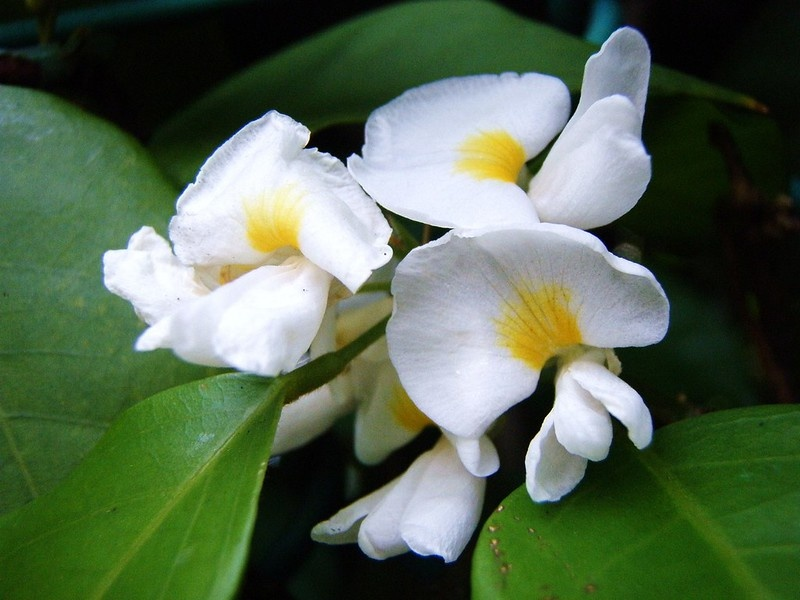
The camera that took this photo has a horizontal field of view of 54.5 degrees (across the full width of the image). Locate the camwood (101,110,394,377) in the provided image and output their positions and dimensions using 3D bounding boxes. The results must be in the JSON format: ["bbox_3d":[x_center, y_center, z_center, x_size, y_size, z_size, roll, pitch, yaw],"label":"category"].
[{"bbox_3d":[-0.144,-0.047,0.723,0.233,0.104,0.216,-39,70,-20],"label":"camwood"}]

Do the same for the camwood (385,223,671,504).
[{"bbox_3d":[0.120,0.062,0.745,0.260,0.116,0.332,-3,61,-17],"label":"camwood"}]

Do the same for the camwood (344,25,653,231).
[{"bbox_3d":[0.096,-0.150,0.782,0.247,0.156,0.214,1,45,3],"label":"camwood"}]
